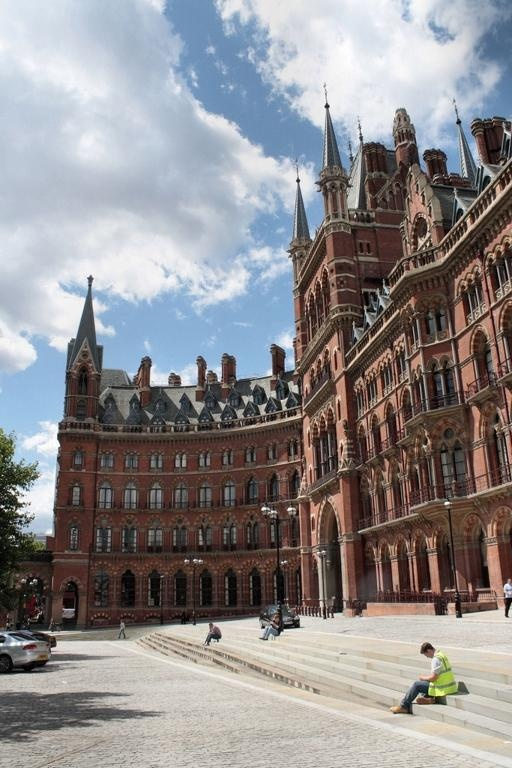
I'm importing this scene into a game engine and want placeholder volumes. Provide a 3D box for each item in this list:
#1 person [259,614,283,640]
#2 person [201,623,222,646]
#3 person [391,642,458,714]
[{"bbox_3d":[0.618,9.545,23.175,0.765,0.901,1.743,-2,-17,1],"label":"person"},{"bbox_3d":[-1.895,11.011,26.001,0.603,0.914,1.796,1,-17,-7],"label":"person"},{"bbox_3d":[2.561,4.564,9.032,0.880,0.936,0.460,-5,-18,11],"label":"person"}]
